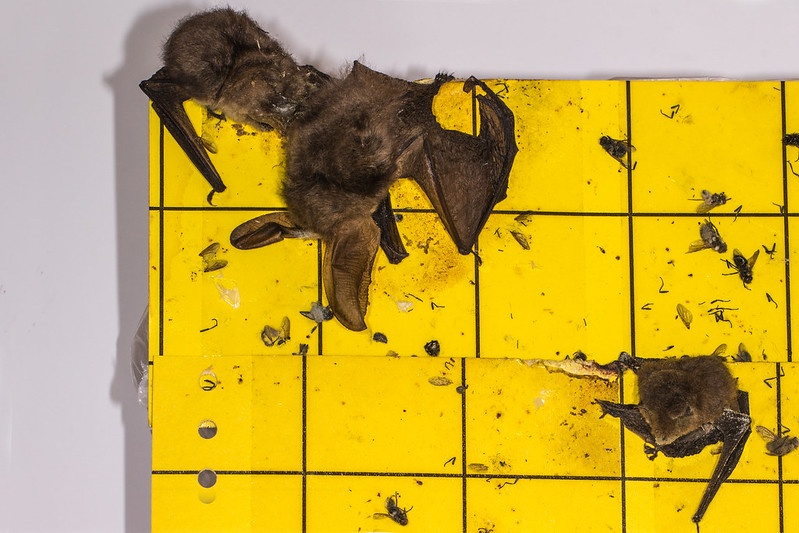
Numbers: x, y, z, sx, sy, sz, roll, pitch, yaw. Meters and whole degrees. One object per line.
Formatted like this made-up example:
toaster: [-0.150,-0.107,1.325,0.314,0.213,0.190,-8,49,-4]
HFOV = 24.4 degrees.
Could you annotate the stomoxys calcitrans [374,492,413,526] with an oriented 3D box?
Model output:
stomoxys calcitrans: [0.006,1.205,9.075,0.151,0.167,0.050,-29,11,5]
